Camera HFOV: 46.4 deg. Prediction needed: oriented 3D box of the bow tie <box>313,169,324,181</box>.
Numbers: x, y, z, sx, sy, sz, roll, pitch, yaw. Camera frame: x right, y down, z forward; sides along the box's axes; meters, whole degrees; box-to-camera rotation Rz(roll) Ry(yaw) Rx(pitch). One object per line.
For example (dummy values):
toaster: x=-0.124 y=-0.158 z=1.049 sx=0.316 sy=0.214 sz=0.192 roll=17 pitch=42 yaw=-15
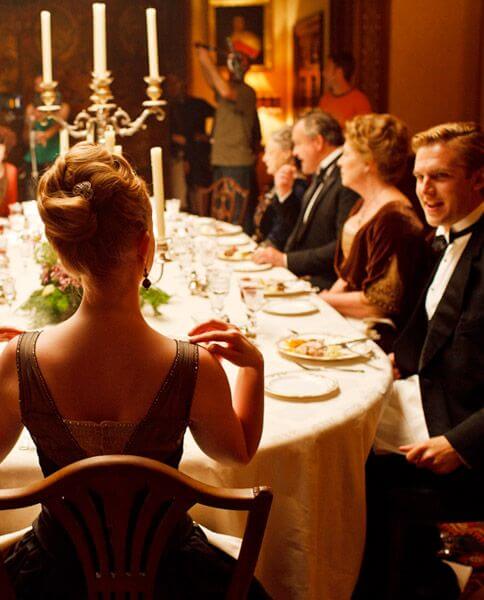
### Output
bow tie: x=0.463 y=-0.746 z=3.402 sx=0.012 sy=0.055 sz=0.039 roll=-9 pitch=47 yaw=-31
